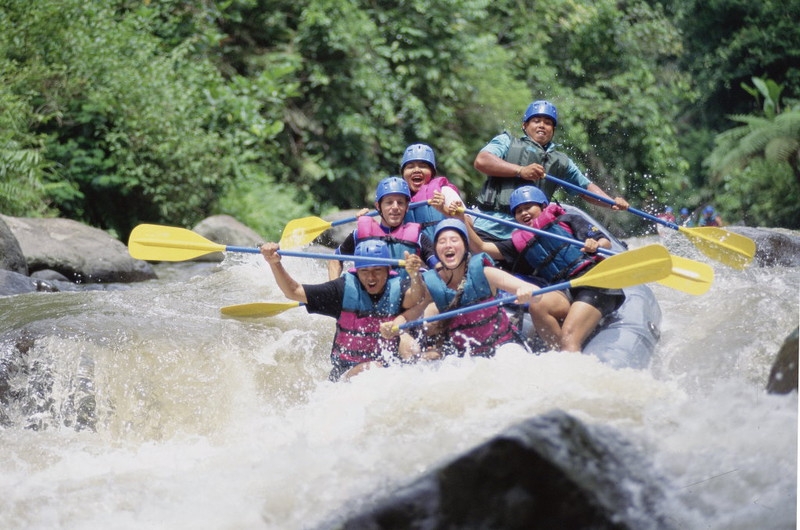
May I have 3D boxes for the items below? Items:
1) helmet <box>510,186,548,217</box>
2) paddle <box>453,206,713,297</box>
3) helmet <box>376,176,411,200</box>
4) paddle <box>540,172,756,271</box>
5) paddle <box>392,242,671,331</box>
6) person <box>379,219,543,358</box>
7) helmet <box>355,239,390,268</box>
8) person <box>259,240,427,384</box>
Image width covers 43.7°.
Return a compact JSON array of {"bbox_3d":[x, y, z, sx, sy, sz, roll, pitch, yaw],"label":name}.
[{"bbox_3d":[1.174,-0.601,9.298,0.292,0.231,0.225,-34,15,-17],"label":"helmet"},{"bbox_3d":[1.659,-0.091,9.323,2.456,0.379,0.102,24,6,2],"label":"paddle"},{"bbox_3d":[-0.068,-0.712,9.381,0.319,0.217,0.233,-6,19,-14],"label":"helmet"},{"bbox_3d":[2.869,-0.509,11.198,2.869,0.532,0.133,24,19,13],"label":"paddle"},{"bbox_3d":[1.100,0.200,8.877,3.015,0.443,0.113,-13,-8,3],"label":"paddle"},{"bbox_3d":[0.542,0.221,8.689,1.215,1.186,0.480,-1,18,-1],"label":"person"},{"bbox_3d":[-0.255,-0.079,8.742,0.207,0.266,0.285,0,-18,0],"label":"helmet"},{"bbox_3d":[-0.490,0.476,9.049,1.165,1.849,0.672,-1,-11,0],"label":"person"}]
